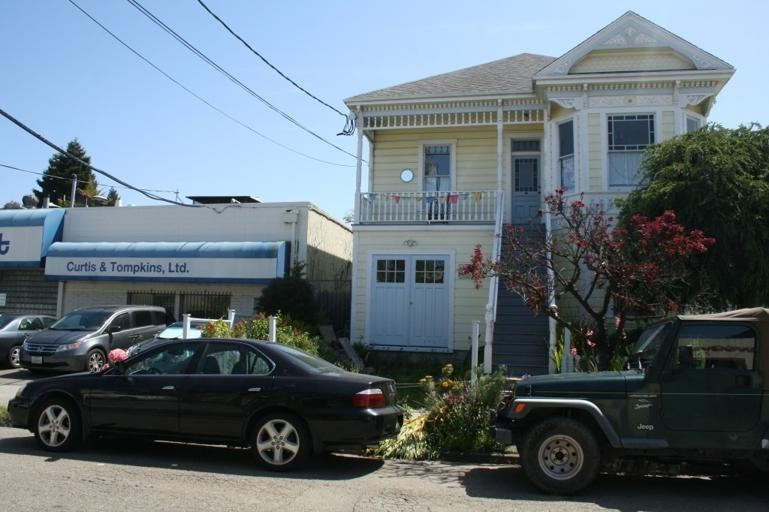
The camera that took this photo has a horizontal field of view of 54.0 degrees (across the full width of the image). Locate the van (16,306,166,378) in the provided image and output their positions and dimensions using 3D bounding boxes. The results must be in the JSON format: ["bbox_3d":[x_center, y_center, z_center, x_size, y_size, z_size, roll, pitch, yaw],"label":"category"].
[{"bbox_3d":[-7.309,2.116,19.709,1.592,1.176,3.317,-4,-6,26],"label":"van"}]
